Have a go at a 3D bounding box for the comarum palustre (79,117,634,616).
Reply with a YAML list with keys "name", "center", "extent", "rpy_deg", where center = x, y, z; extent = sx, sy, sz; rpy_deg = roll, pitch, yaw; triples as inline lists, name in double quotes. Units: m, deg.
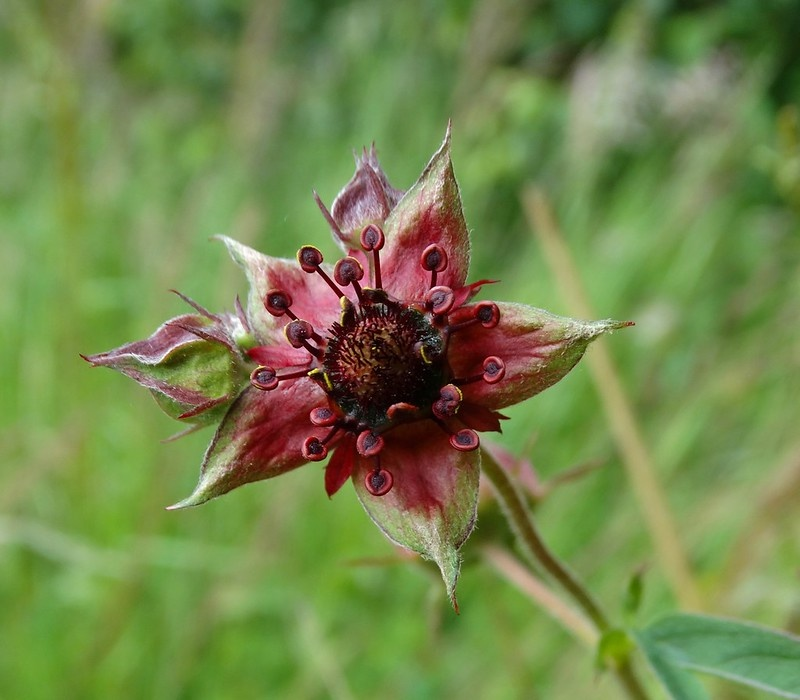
- name: "comarum palustre"
  center: [-0.002, 0.031, 1.856]
  extent: [0.777, 0.302, 1.010]
  rpy_deg: [-3, 13, -5]
